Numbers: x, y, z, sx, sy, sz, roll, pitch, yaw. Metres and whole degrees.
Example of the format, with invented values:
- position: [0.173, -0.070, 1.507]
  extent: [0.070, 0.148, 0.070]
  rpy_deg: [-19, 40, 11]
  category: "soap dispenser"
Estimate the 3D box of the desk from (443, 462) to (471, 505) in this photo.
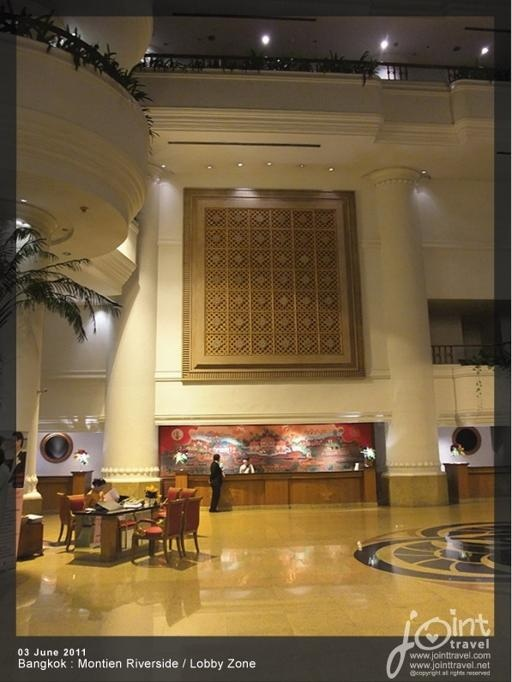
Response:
- position: [4.481, 3.203, 12.097]
  extent: [0.682, 1.017, 0.752]
  rpy_deg: [1, -13, -5]
  category: "desk"
